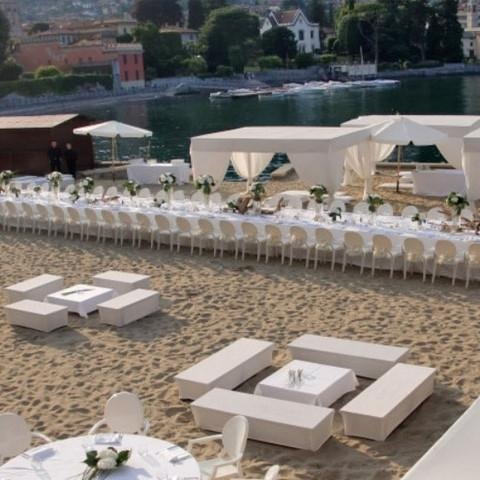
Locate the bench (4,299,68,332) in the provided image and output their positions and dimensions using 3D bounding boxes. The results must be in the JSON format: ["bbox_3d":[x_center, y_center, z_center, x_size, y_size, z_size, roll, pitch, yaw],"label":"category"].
[{"bbox_3d":[-2.592,0.963,10.835,0.810,0.306,0.418,3,13,30],"label":"bench"}]

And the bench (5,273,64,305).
[{"bbox_3d":[-2.790,0.637,11.583,0.372,0.237,0.646,11,24,33],"label":"bench"}]

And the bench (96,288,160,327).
[{"bbox_3d":[-1.427,0.873,10.935,0.854,0.310,0.398,-15,16,-42],"label":"bench"}]
